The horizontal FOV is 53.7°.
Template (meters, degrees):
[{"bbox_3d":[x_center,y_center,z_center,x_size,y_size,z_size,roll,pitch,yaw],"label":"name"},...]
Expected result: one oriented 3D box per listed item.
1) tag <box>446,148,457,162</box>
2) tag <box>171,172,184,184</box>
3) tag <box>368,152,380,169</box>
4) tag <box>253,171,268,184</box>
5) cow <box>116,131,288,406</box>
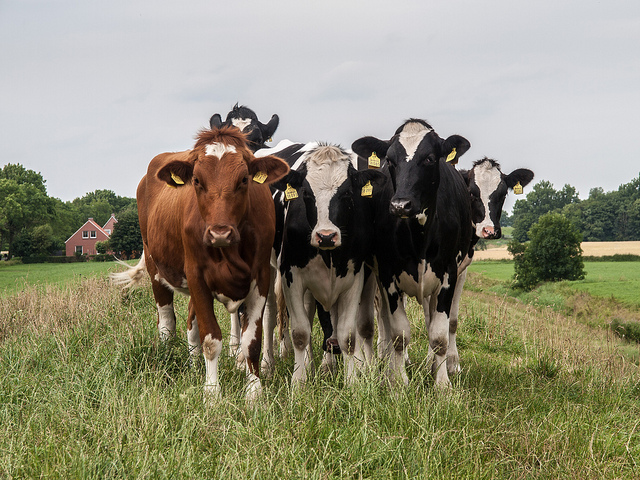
[{"bbox_3d":[1.863,-1.227,8.926,0.089,0.214,0.023,20,11,-28],"label":"tag"},{"bbox_3d":[-1.881,-0.831,8.327,0.087,0.042,0.153,-24,-55,32],"label":"tag"},{"bbox_3d":[0.789,-1.166,9.065,0.196,0.340,0.055,1,-35,1],"label":"tag"},{"bbox_3d":[-0.775,-0.838,8.300,0.184,0.147,0.055,0,0,7],"label":"tag"},{"bbox_3d":[-1.492,0.258,8.685,1.445,3.390,3.383,0,0,-28],"label":"cow"}]
